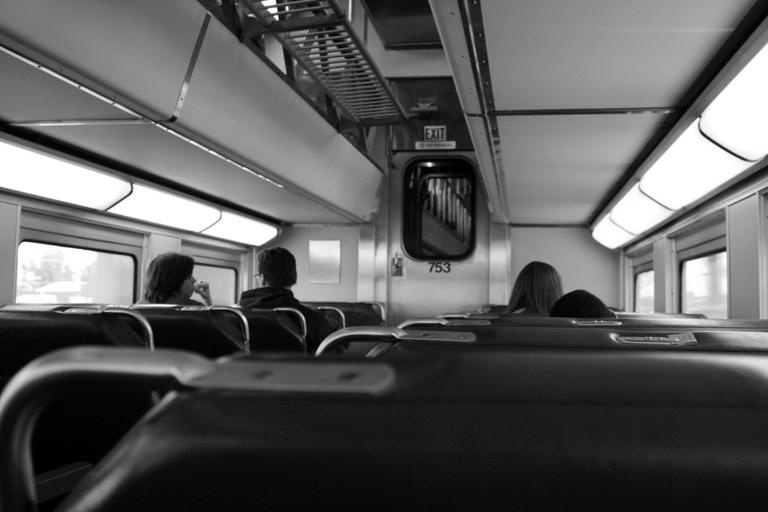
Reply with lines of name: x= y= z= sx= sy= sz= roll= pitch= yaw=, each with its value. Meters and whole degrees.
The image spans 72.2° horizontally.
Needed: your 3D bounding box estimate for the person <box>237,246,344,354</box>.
person: x=-0.809 y=0.337 z=4.023 sx=0.888 sy=0.767 sz=0.484 roll=-4 pitch=-3 yaw=21
